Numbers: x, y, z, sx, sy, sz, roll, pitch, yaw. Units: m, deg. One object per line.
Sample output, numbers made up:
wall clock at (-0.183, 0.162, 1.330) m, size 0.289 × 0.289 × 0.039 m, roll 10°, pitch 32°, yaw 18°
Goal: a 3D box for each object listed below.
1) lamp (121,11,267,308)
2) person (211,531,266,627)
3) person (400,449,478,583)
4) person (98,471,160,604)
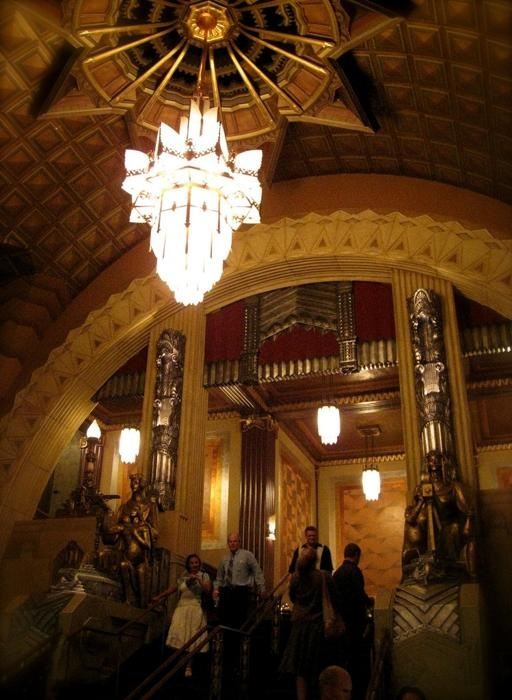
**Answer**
lamp at (-0.712, -2.499, 5.819) m, size 1.551 × 4.096 × 0.986 m, roll 1°, pitch -20°, yaw -1°
person at (-0.181, 2.460, 5.320) m, size 0.495 × 0.876 × 0.523 m, roll 2°, pitch -20°, yaw -4°
person at (1.998, 1.787, 5.497) m, size 0.782 × 1.371 × 1.139 m, roll -5°, pitch -20°, yaw 15°
person at (-1.662, 2.468, 6.605) m, size 0.768 × 1.587 × 0.738 m, roll -6°, pitch -21°, yaw 19°
